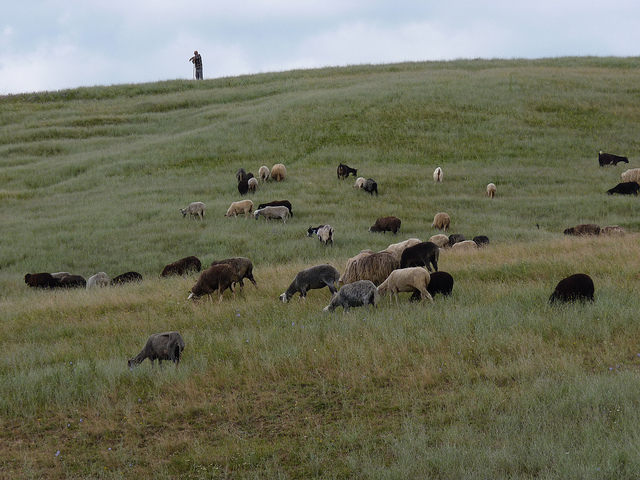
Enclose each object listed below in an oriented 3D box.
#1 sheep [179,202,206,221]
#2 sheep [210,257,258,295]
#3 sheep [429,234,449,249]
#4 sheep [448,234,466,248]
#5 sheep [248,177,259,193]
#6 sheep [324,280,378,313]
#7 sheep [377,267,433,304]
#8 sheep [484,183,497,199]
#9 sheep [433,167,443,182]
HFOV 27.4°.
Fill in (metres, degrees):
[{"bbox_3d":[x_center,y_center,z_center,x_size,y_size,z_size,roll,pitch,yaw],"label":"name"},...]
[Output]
[{"bbox_3d":[-9.308,-2.181,96.730,1.684,1.186,1.129,-3,7,21],"label":"sheep"},{"bbox_3d":[-5.306,1.895,84.658,2.254,2.627,2.300,-7,9,-15],"label":"sheep"},{"bbox_3d":[8.102,0.067,88.868,1.424,1.137,0.741,4,7,15],"label":"sheep"},{"bbox_3d":[9.426,-0.034,90.165,1.206,0.743,0.611,-3,-5,0],"label":"sheep"},{"bbox_3d":[-5.141,-4.254,100.709,0.692,1.003,1.159,-4,7,5],"label":"sheep"},{"bbox_3d":[1.957,3.668,81.078,3.699,2.190,1.118,-9,-6,22],"label":"sheep"},{"bbox_3d":[5.105,2.857,81.376,3.508,2.313,1.061,-4,10,20],"label":"sheep"},{"bbox_3d":[12.646,-3.742,98.438,0.854,1.010,0.610,0,8,39],"label":"sheep"},{"bbox_3d":[9.039,-5.054,101.116,0.661,1.070,1.020,-4,7,4],"label":"sheep"}]
